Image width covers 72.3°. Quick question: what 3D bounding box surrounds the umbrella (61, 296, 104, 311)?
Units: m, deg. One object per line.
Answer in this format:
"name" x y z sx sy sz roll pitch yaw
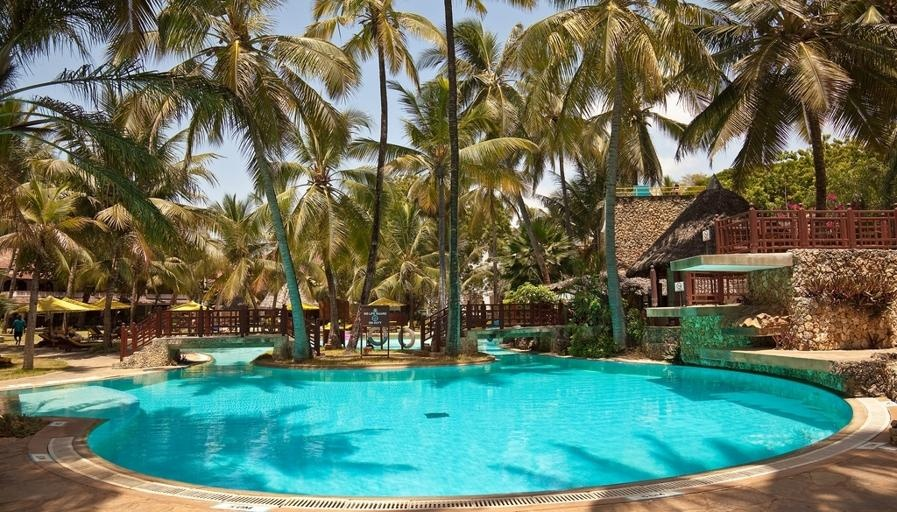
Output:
"umbrella" -24.943 3.132 41.690 1.850 0.599 1.825 5 -3 33
